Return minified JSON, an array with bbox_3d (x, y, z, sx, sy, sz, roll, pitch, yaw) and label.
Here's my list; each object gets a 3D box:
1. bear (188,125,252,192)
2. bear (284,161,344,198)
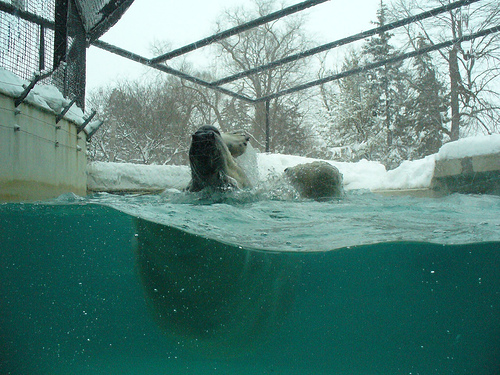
[{"bbox_3d":[-0.395,-0.359,5.852,0.396,0.827,0.871,12,17,41],"label":"bear"},{"bbox_3d":[0.940,-0.111,6.903,0.812,0.451,0.522,4,14,4],"label":"bear"}]
